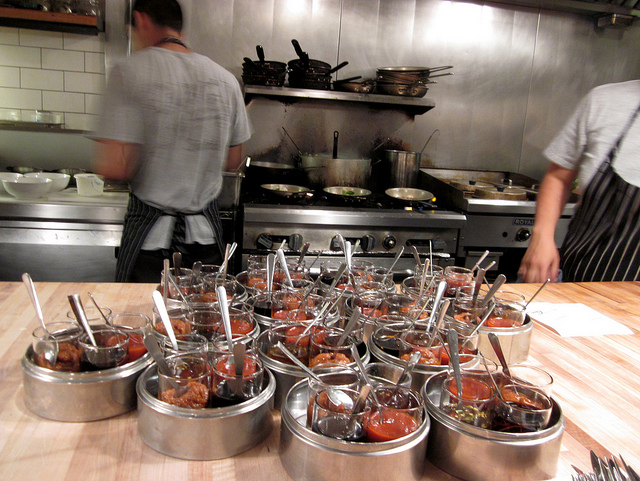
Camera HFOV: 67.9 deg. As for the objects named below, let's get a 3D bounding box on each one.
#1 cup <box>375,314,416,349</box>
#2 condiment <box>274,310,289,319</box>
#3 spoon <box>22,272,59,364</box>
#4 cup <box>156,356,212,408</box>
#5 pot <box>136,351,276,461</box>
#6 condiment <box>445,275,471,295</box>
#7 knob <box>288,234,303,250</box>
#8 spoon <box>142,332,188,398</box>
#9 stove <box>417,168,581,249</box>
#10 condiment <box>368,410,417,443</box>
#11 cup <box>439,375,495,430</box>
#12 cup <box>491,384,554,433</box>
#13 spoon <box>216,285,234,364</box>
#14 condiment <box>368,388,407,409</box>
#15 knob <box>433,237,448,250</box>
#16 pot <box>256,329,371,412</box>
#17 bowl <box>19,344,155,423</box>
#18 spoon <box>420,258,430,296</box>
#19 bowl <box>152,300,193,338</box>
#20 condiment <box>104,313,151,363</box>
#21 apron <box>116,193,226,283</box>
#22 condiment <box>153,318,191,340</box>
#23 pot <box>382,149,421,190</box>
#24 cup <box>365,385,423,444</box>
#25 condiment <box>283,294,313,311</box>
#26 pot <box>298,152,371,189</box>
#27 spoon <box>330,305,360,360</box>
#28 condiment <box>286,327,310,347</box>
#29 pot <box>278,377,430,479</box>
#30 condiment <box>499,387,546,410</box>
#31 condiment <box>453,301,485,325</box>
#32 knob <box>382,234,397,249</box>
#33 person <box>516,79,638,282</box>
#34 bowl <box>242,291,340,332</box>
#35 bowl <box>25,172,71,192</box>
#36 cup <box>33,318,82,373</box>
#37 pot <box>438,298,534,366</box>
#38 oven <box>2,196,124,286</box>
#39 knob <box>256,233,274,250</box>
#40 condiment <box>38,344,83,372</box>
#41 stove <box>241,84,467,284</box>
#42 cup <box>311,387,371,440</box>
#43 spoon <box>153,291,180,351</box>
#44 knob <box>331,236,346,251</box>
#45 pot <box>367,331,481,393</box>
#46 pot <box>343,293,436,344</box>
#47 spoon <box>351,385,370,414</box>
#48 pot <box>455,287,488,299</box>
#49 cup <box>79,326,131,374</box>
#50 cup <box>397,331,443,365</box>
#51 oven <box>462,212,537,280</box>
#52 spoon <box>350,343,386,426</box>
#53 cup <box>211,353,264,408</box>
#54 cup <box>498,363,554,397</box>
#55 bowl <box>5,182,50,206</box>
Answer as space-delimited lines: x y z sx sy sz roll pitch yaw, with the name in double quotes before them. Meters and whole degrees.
"cup" 0.203 0.233 1.300 0.083 0.086 0.082 0 10 0
"condiment" -0.108 0.203 1.325 0.038 0.017 0.036 2 19 -4
"spoon" -0.673 0.189 1.145 0.056 0.043 0.310 -20 49 -29
"cup" -0.306 0.289 1.075 0.111 0.111 0.111 1 12 0
"pot" -0.283 0.396 1.130 0.275 0.103 0.274 9 5 -1
"condiment" 0.465 0.147 1.612 0.061 0.067 0.062 11 16 38
"knob" -0.145 0.012 2.836 0.084 0.120 0.079 0 5 -20
"spoon" -0.325 0.267 1.012 0.085 0.133 0.033 13 21 26
"stove" 1.251 -0.183 3.621 1.116 0.723 0.776 0 17 -26
"condiment" 0.148 0.385 0.991 0.072 0.055 0.073 1 9 3
"cup" 0.335 0.369 1.078 0.123 0.121 0.127 -4 -6 0
"cup" 0.444 0.368 1.042 0.101 0.098 0.102 -1 11 0
"spoon" -0.223 0.188 1.127 0.041 0.203 0.029 -6 -25 -12
"condiment" 0.147 0.343 1.043 0.053 0.043 0.053 -2 16 -15
"knob" 0.768 0.018 3.057 0.088 0.069 0.055 -1 19 -13
"pot" -0.089 0.319 1.199 0.212 0.081 0.225 2 14 0
"bowl" -0.582 0.325 1.186 0.269 0.101 0.268 9 10 -2
"spoon" 0.346 0.125 1.570 0.015 0.115 0.012 10 20 -10
"bowl" -0.400 0.198 1.282 0.093 0.070 0.094 4 16 -1
"condiment" -0.488 0.234 1.210 0.101 0.113 0.115 2 12 -26
"apron" -0.644 -0.010 2.058 0.387 0.357 0.163 0 17 -20
"condiment" -0.369 0.215 1.209 0.057 0.036 0.064 -3 6 -37
"pot" 0.578 -0.537 3.605 0.278 0.310 0.279 3 11 -1
"cup" 0.145 0.358 1.044 0.117 0.116 0.103 -3 14 -17
"condiment" -0.060 0.171 1.370 0.057 0.041 0.043 -1 11 -31
"pot" 0.116 -0.475 3.535 0.373 0.231 0.634 -2 7 -24
"spoon" 0.062 0.236 1.206 0.017 0.130 0.017 24 5 -2
"condiment" -0.056 0.236 1.180 0.049 0.042 0.049 -4 23 -11
"pot" 0.059 0.377 0.982 0.206 0.077 0.204 1 13 0
"condiment" 0.460 0.350 1.071 0.053 0.021 0.053 2 9 -11
"condiment" 0.448 0.213 1.435 0.064 0.049 0.065 6 12 30
"knob" 0.438 0.008 2.981 0.085 0.085 0.035 36 -12 -10
"person" 1.211 -0.230 2.163 0.527 0.948 0.376 4 19 3
"bowl" -0.073 0.190 1.331 0.162 0.061 0.148 3 12 -1
"bowl" -1.643 -0.340 2.937 0.148 0.059 0.149 2 0 0
"cup" -0.615 0.241 1.131 0.109 0.112 0.109 0 2 0
"pot" 0.500 0.242 1.419 0.203 0.081 0.206 0 8 0
"oven" -1.471 0.001 2.682 0.432 0.421 0.234 2 20 -9
"knob" -0.327 0.012 2.838 0.105 0.103 0.071 1 19 -7
"condiment" -0.611 0.290 1.140 0.074 0.073 0.075 3 -24 -4
"stove" 0.168 -0.390 3.059 1.364 1.366 0.742 -1 10 -11
"cup" 0.035 0.361 1.035 0.113 0.115 0.102 14 19 24
"spoon" -0.388 0.208 1.203 0.021 0.145 0.019 -19 -4 -12
"knob" 0.103 0.019 2.852 0.067 0.090 0.088 1 12 -18
"pot" 0.232 0.308 1.223 0.146 0.107 0.148 0 12 0
"pot" 0.158 0.189 1.371 0.155 0.121 0.170 1 7 0
"spoon" 0.083 0.321 0.962 0.017 0.109 0.014 33 44 26
"pot" 0.492 0.172 1.560 0.050 0.048 0.051 1 4 0
"cup" -0.509 0.249 1.128 0.089 0.074 0.099 -2 7 -44
"cup" 0.256 0.269 1.217 0.088 0.065 0.088 1 12 0
"oven" 1.218 0.033 3.303 0.525 0.512 0.352 2 2 8
"spoon" 0.098 0.299 1.062 0.034 0.210 0.030 -17 -25 -7
"cup" -0.189 0.312 1.112 0.119 0.129 0.114 2 15 -1
"cup" 0.475 0.318 1.111 0.090 0.089 0.090 0 4 0
"bowl" -1.682 -0.275 2.744 0.153 0.077 0.157 1 4 0
